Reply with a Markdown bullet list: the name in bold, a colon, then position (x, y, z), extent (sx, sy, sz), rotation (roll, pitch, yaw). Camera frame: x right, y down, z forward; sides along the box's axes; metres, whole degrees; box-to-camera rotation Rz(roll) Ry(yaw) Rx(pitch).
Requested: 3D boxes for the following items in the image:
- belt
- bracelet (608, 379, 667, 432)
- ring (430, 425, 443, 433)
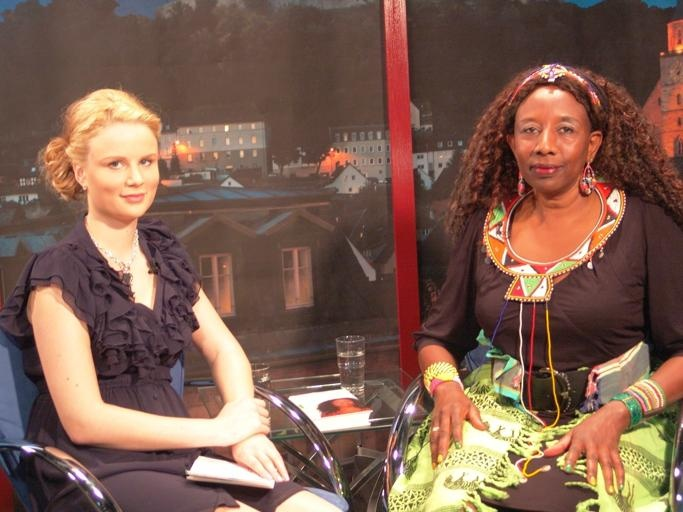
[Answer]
- **belt**: position (0.702, 0.437, 2.057), extent (0.153, 0.168, 0.089), rotation (-3, -18, 13)
- **bracelet**: position (0.915, 0.438, 1.948), extent (0.163, 0.077, 0.121), rotation (-43, 48, -19)
- **ring**: position (0.306, 0.556, 2.060), extent (0.021, 0.021, 0.021), rotation (-1, 1, 0)
